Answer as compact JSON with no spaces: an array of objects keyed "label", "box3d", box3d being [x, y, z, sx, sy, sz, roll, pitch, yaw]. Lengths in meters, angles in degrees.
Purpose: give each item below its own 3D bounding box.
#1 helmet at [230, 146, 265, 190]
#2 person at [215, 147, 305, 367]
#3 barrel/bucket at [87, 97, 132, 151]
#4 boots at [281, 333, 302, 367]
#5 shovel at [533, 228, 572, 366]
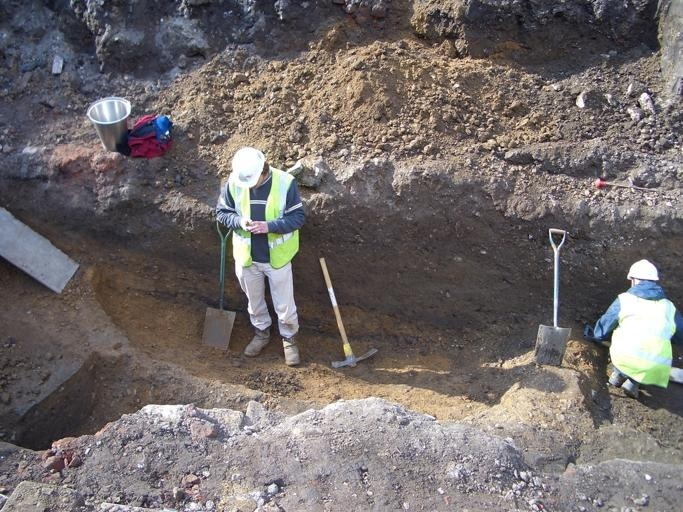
[{"label":"helmet","box3d":[-0.921,-0.884,7.450,0.270,0.198,0.412,1,77,14]},{"label":"person","box3d":[-0.761,0.036,7.921,0.863,2.366,0.669,-10,31,-8]},{"label":"barrel/bucket","box3d":[-2.599,-1.491,8.553,0.473,0.555,0.455,-4,31,2]},{"label":"boots","box3d":[-0.540,1.030,8.291,0.124,0.181,0.397,-7,29,-8]},{"label":"shovel","box3d":[2.300,0.439,8.027,0.328,1.110,0.959,6,33,19]}]
